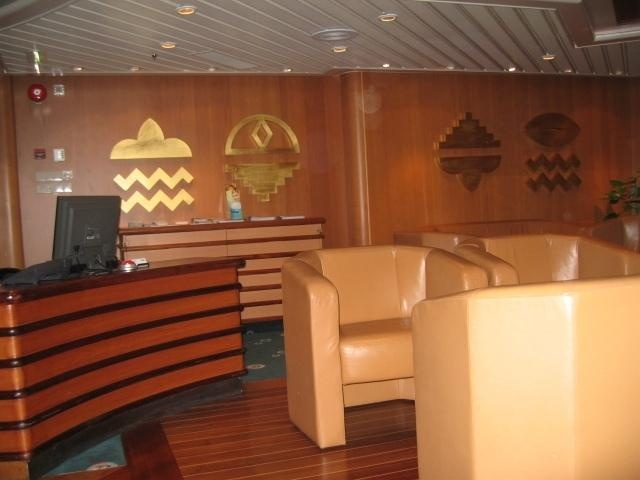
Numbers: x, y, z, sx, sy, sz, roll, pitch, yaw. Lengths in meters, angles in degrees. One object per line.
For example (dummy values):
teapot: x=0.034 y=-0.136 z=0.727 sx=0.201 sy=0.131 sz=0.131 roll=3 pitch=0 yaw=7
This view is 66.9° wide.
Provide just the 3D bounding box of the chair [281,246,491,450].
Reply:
chair: x=0.380 y=0.675 z=3.257 sx=1.258 sy=0.993 sz=0.886 roll=-3 pitch=2 yaw=-22

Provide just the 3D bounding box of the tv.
tv: x=-1.516 y=-0.022 z=3.129 sx=0.207 sy=0.496 sz=0.562 roll=14 pitch=9 yaw=34
